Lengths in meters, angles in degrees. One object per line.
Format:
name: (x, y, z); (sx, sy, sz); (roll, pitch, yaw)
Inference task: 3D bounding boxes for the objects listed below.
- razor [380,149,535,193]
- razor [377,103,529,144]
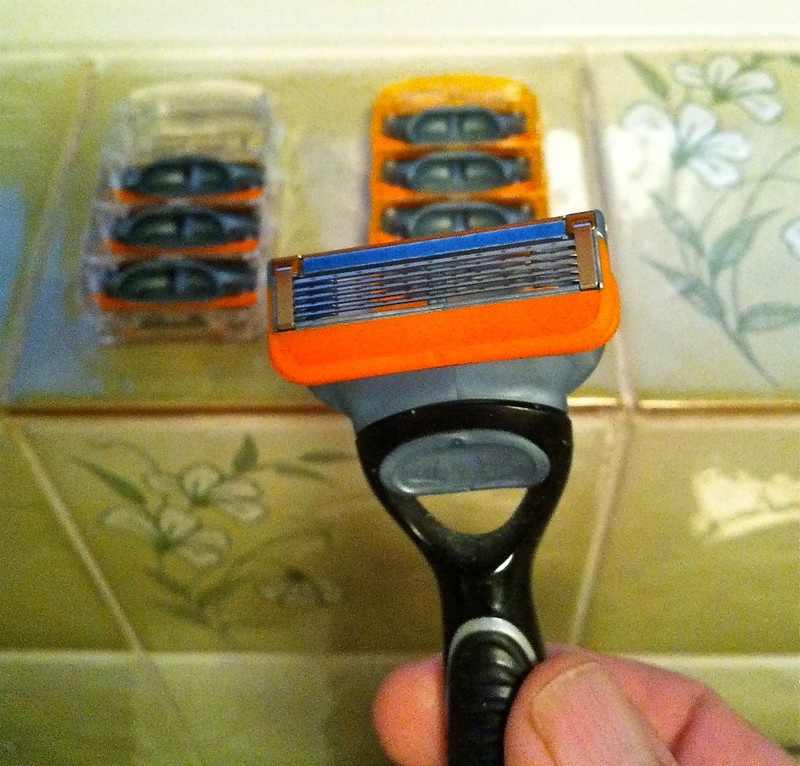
razor: (0.050, -0.186, 0.931); (0.127, 0.017, 0.040); (-2, 53, 0)
razor: (0.049, -0.230, 0.942); (0.124, 0.016, 0.037); (-3, 53, 0)
